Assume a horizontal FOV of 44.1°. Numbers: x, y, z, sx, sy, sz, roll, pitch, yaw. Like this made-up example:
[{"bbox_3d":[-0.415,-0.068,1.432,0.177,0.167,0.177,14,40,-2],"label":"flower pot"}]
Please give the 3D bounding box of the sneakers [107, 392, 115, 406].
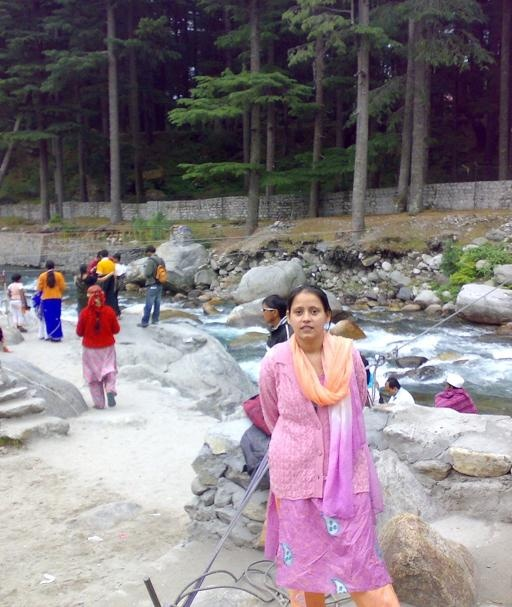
[{"bbox_3d":[-1.723,1.145,7.545,0.093,0.173,0.083,-2,14,-8],"label":"sneakers"}]
